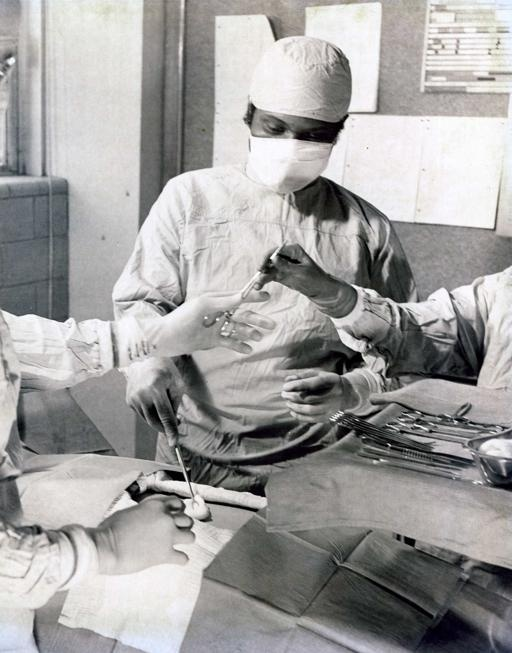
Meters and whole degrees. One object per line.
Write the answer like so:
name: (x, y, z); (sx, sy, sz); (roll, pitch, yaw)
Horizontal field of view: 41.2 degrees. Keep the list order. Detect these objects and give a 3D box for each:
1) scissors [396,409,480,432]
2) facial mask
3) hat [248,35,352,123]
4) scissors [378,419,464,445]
scissors: (0.287, 0.155, 1.126); (0.158, 0.013, 0.042); (6, 33, 26)
facial mask: (0.050, -0.281, 1.188); (0.154, 0.095, 0.087); (5, 15, 9)
hat: (0.075, -0.392, 1.089); (0.150, 0.091, 0.142); (13, 30, 3)
scissors: (0.268, 0.172, 1.092); (0.133, 0.012, 0.045); (11, 16, 28)
